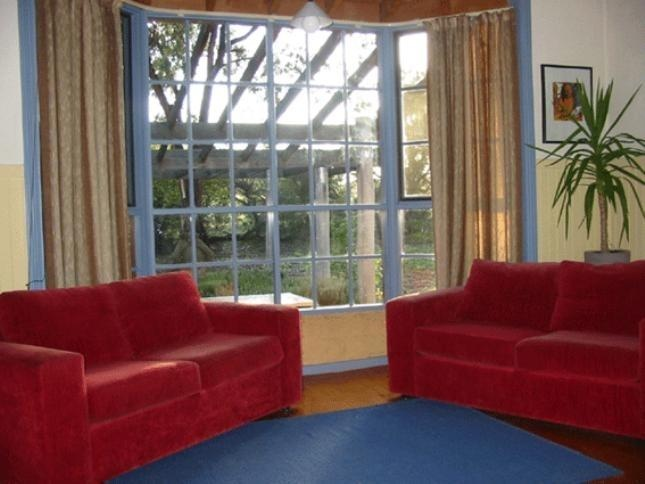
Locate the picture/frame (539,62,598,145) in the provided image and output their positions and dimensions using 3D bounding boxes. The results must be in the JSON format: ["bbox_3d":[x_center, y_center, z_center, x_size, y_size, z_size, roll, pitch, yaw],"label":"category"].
[{"bbox_3d":[2.142,-1.202,5.200,0.737,1.176,0.042,-1,0,-25],"label":"picture/frame"}]
